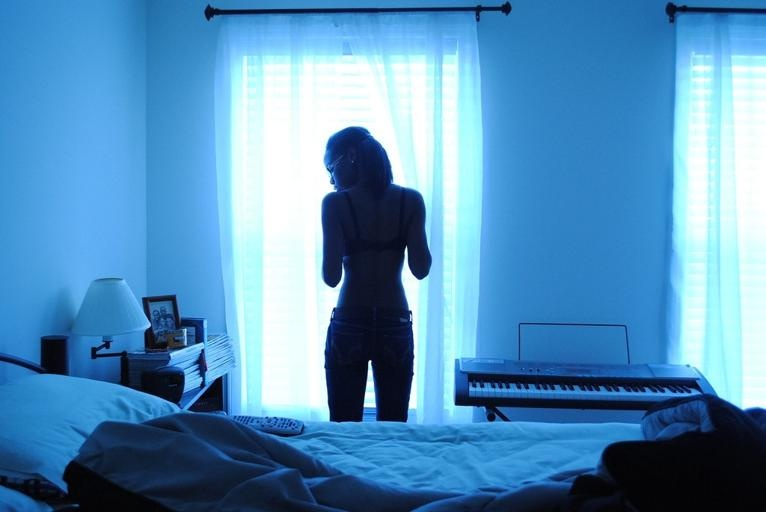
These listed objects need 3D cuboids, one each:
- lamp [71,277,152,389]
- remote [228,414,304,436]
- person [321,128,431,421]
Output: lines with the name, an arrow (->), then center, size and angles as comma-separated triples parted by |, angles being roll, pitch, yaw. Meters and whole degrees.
lamp -> -1.509, 0.481, 3.980 | 0.426, 0.714, 0.416 | -4, 6, -45
remote -> -0.571, 0.853, 3.607 | 0.290, 0.042, 0.168 | 1, 2, -1
person -> -0.059, 0.363, 4.165 | 0.625, 2.164, 0.597 | 2, 7, 1
